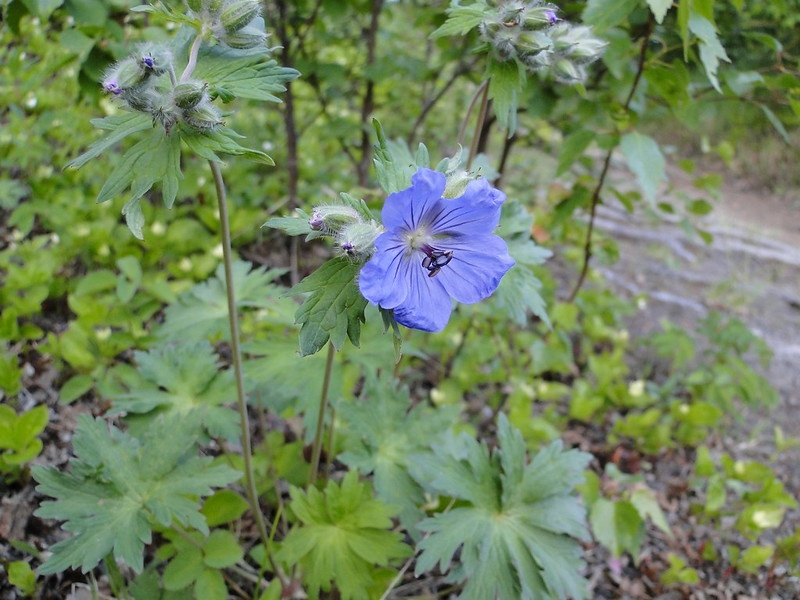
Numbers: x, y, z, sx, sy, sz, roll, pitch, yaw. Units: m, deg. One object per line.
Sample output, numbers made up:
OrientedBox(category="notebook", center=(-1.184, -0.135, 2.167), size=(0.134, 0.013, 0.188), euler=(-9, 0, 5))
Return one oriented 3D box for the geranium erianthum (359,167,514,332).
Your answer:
OrientedBox(category="geranium erianthum", center=(0.137, -0.228, 3.200), size=(0.731, 0.634, 0.298), euler=(-21, 42, -27))
